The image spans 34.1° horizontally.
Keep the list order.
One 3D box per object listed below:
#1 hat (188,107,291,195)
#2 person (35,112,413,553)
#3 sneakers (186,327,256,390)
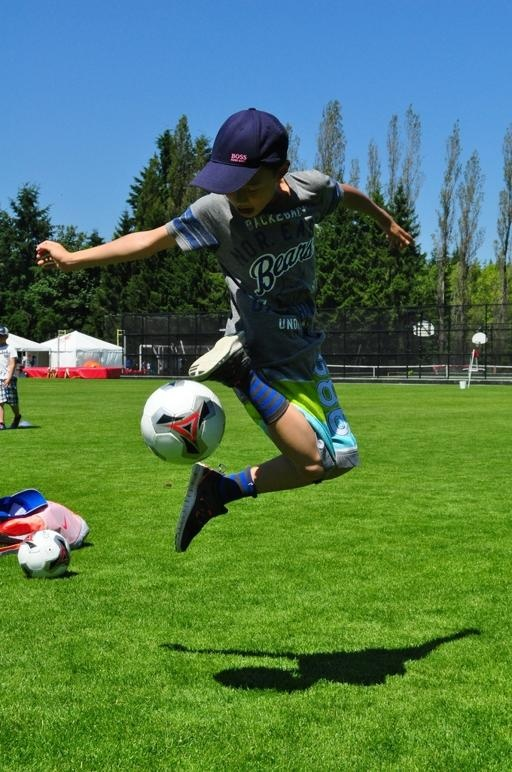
[{"bbox_3d":[-0.061,-0.865,3.110,0.353,0.355,0.218,0,2,0],"label":"hat"},{"bbox_3d":[-0.022,-0.169,3.566,0.792,1.777,1.182,1,3,33],"label":"person"},{"bbox_3d":[-0.131,-0.095,3.363,0.175,0.105,0.261,-5,24,47],"label":"sneakers"}]
